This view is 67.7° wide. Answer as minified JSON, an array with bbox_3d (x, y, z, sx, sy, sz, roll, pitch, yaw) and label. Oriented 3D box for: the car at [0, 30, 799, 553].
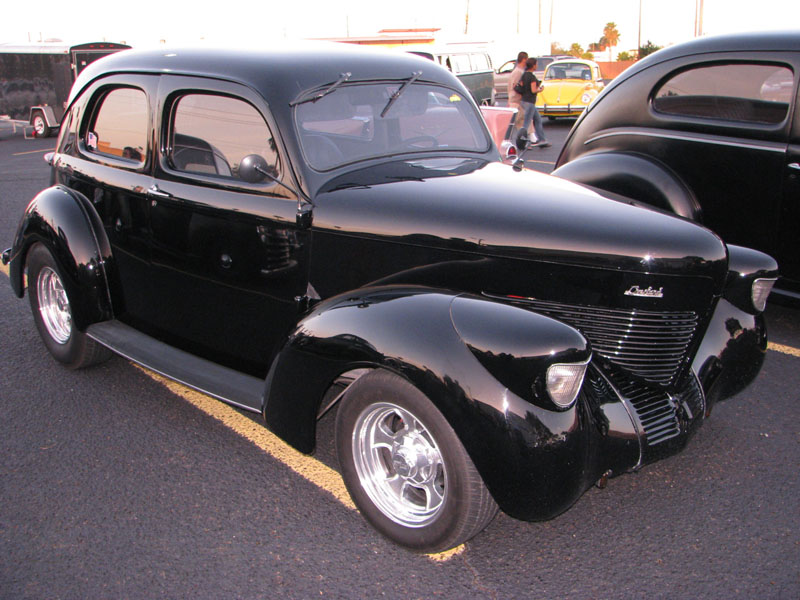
[{"bbox_3d":[-0.379,-0.194,4.143,4.627,2.153,2.781,14,22,34],"label":"car"}]
